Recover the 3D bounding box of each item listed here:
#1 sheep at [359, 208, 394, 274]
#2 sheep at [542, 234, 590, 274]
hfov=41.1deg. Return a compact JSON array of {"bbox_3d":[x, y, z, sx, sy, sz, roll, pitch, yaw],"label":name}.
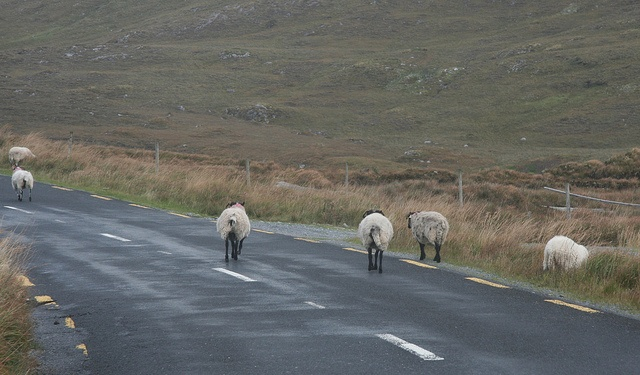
[{"bbox_3d":[4.808,4.718,74.717,2.685,5.101,2.127,3,13,4],"label":"sheep"},{"bbox_3d":[21.925,5.964,75.365,2.723,3.468,3.340,1,0,-43],"label":"sheep"}]
